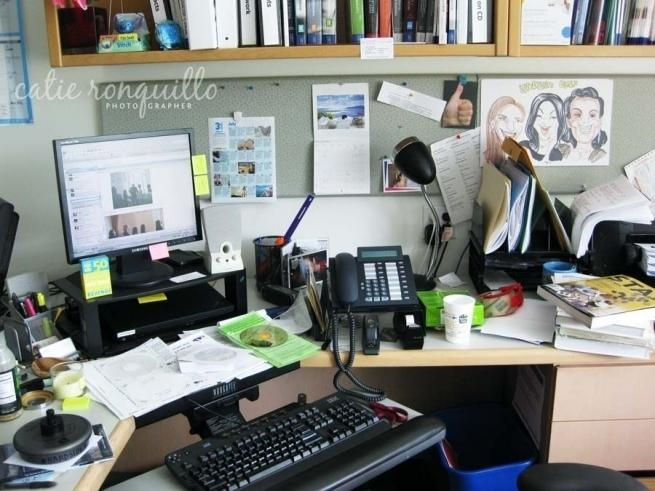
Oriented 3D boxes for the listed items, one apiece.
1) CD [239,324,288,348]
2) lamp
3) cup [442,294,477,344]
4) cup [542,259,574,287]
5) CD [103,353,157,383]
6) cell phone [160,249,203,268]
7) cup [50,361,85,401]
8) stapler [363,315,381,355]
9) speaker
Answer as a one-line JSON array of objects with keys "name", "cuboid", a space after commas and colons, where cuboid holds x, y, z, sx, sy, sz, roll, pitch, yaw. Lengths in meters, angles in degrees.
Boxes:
[{"name": "CD", "cuboid": [-0.195, 0.273, 1.585, 0.140, 0.029, 0.112, 4, 17, 26]}, {"name": "lamp", "cuboid": [0.312, -0.114, 1.902, 0.210, 0.538, 0.134, 0, 4, -13]}, {"name": "cup", "cuboid": [0.390, 0.221, 1.555, 0.127, 0.144, 0.125, -1, 6, 0]}, {"name": "cup", "cuboid": [0.789, 0.085, 1.778, 0.082, 0.057, 0.083, 0, 15, 0]}, {"name": "CD", "cuboid": [-0.546, 0.338, 1.445, 0.129, 0.020, 0.129, -12, 17, -29]}, {"name": "cell phone", "cuboid": [-0.493, 0.042, 1.769, 0.076, 0.020, 0.077, 18, 22, 35]}, {"name": "cup", "cuboid": [-0.676, 0.349, 1.354, 0.079, 0.082, 0.079, 2, 5, 0]}, {"name": "stapler", "cuboid": [0.128, 0.261, 1.558, 0.050, 0.096, 0.092, 0, 31, 4]}, {"name": "speaker", "cuboid": [-0.356, -0.032, 1.725, 0.132, 0.211, 0.122, -8, 19, -35]}]
